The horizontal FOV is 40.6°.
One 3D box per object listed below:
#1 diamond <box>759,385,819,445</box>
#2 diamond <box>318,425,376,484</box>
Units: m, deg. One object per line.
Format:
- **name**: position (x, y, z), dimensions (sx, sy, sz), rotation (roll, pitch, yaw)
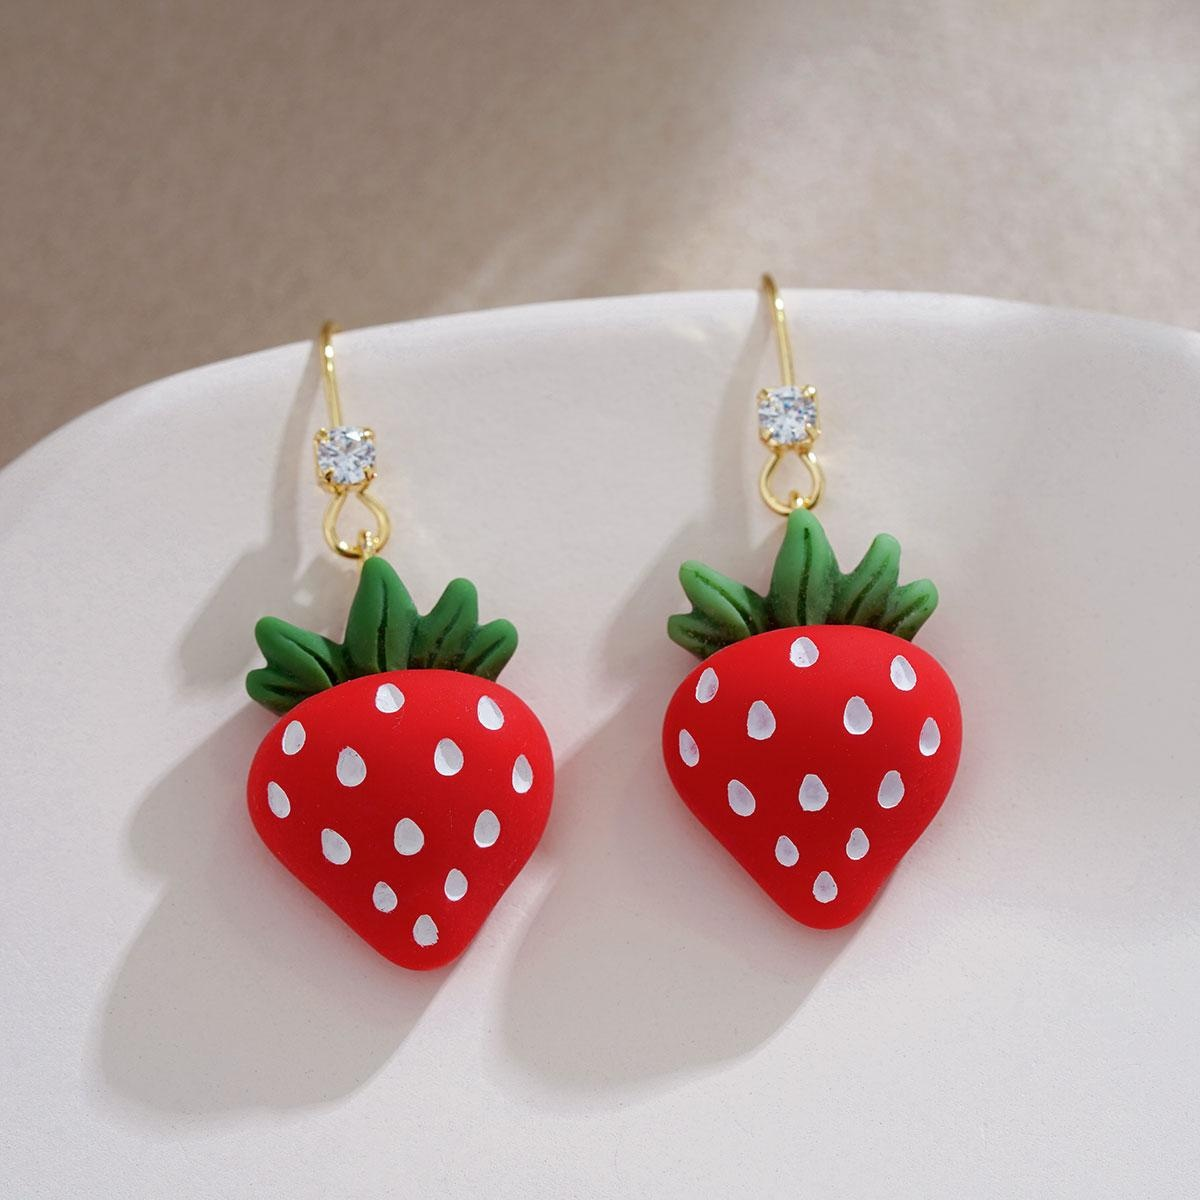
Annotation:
- **diamond**: position (0.135, -0.131, 1.149), dimensions (0.037, 0.018, 0.042), rotation (-1, 95, 3)
- **diamond**: position (-0.177, -0.102, 1.132), dimensions (0.036, 0.017, 0.040), rotation (-1, 94, -12)
